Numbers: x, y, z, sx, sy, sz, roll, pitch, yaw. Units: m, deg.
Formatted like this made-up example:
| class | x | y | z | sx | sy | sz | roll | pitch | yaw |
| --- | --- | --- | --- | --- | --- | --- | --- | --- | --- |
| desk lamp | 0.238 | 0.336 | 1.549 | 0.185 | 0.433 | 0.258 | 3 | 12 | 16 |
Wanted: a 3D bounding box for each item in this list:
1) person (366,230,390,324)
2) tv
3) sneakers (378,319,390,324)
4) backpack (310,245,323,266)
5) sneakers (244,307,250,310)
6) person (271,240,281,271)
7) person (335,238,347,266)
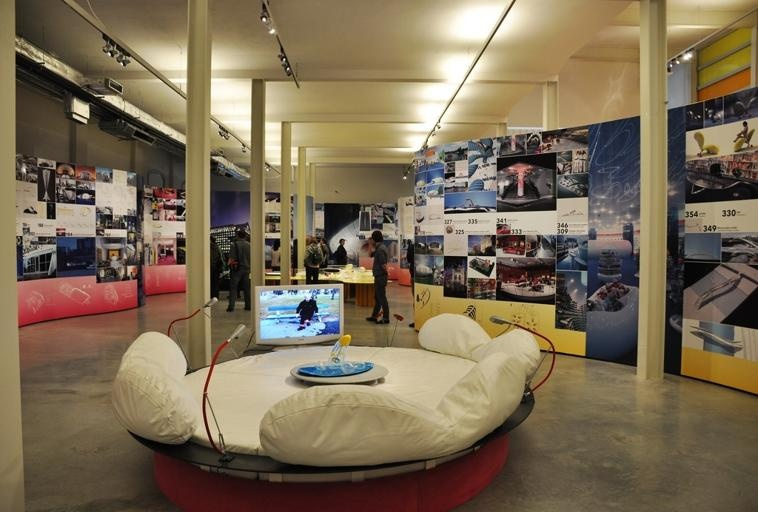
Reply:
| class | x | y | z | sx | sy | sz | roll | pitch | yaw |
| --- | --- | --- | --- | --- | --- | --- | --- | --- | --- |
| person | -0.028 | 0.423 | 10.171 | 0.434 | 1.967 | 0.844 | -2 | 10 | -2 |
| tv | -0.999 | 0.777 | 6.276 | 0.874 | 0.671 | 0.097 | 0 | 0 | -9 |
| sneakers | 0.091 | 1.347 | 10.143 | 0.227 | 0.099 | 0.088 | 3 | 2 | 2 |
| backpack | -1.480 | 0.029 | 11.580 | 0.309 | 0.445 | 0.166 | -1 | 13 | -1 |
| sneakers | -3.044 | 1.232 | 11.474 | 0.085 | 0.043 | 0.115 | 2 | 4 | -2 |
| person | -3.046 | 0.068 | 14.607 | 0.227 | 0.920 | 0.816 | -4 | 11 | -12 |
| person | -1.462 | -0.111 | 19.032 | 0.458 | 1.085 | 1.770 | -3 | 10 | -5 |
